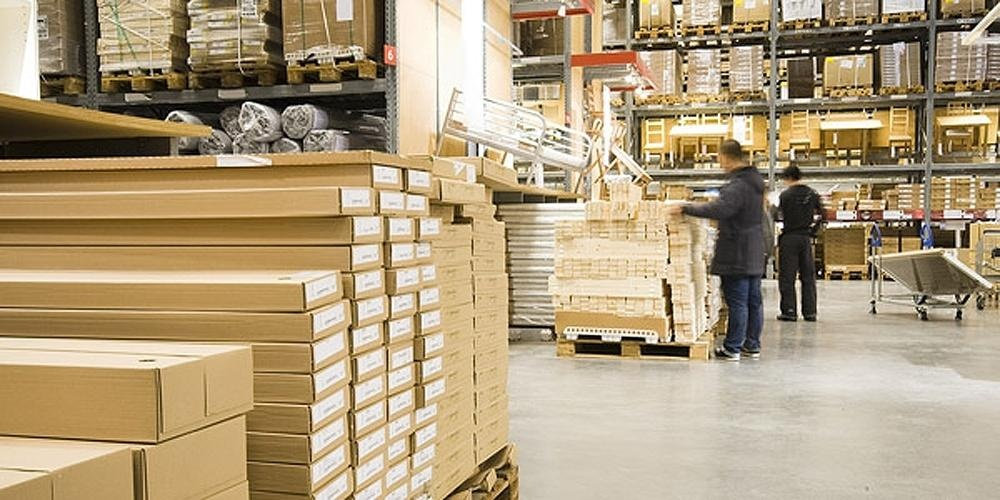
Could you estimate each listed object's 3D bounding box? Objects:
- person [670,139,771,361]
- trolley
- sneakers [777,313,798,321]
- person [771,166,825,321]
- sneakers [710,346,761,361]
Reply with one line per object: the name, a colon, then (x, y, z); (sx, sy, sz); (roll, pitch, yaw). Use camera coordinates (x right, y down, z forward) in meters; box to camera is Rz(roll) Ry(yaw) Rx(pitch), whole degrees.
person: (3.091, 0.019, 13.465); (1.182, 2.935, 0.483); (-3, 7, -24)
trolley: (7.401, 0.465, 17.280); (1.914, 1.215, 2.638); (-1, 0, -3)
sneakers: (4.650, 1.086, 16.497); (0.307, 0.097, 0.119); (2, 4, 34)
person: (4.830, -0.102, 16.404); (0.753, 2.472, 0.750); (1, 6, 13)
sneakers: (3.174, 1.389, 13.749); (0.653, 0.198, 0.211); (2, 1, 12)
